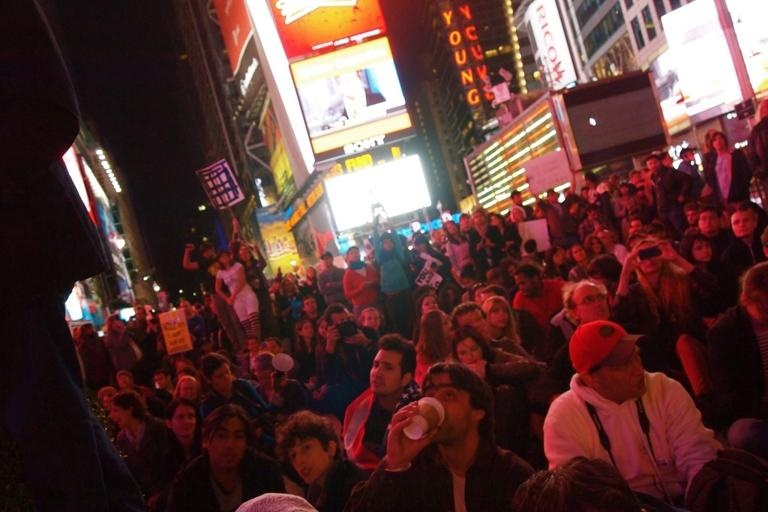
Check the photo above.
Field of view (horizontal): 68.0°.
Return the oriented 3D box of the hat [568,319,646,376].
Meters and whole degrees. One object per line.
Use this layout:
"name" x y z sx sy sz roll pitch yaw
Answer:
"hat" 1.731 0.687 4.490 0.496 0.289 0.366 -28 17 23
